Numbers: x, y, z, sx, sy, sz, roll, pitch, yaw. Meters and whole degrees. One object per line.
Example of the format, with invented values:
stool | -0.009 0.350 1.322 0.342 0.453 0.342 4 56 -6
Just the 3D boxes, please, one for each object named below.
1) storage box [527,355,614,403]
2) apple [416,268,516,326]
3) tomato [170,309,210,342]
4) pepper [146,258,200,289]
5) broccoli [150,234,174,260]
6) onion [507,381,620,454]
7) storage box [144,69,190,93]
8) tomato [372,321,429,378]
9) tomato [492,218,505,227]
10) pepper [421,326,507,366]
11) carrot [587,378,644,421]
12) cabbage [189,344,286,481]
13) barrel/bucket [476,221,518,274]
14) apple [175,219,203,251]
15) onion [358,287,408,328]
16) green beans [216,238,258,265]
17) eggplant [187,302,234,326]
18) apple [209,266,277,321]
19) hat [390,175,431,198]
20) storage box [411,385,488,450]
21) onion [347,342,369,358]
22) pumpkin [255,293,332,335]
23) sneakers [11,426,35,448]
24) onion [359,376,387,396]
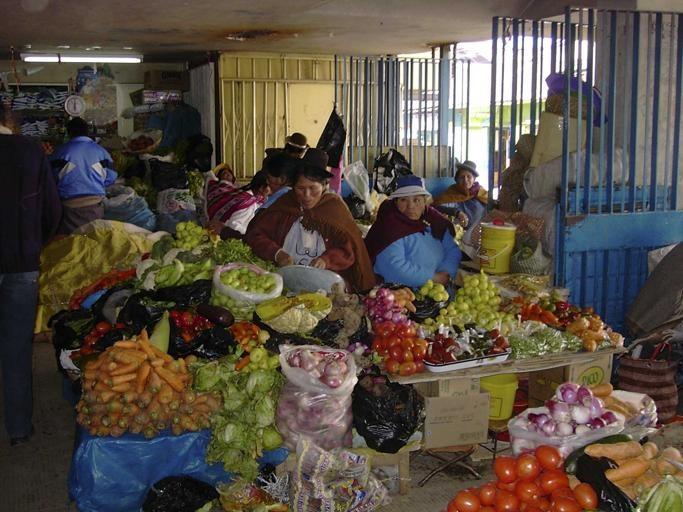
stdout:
storage box | 1.644 0.855 3.821 0.557 0.365 0.301 -8 15 -34
apple | 0.893 0.253 3.597 0.463 0.214 0.447 -2 1 29
tomato | -0.915 0.419 3.202 0.199 0.190 0.068 30 -25 2
pepper | -1.105 0.117 3.469 0.198 0.076 0.265 32 62 24
broccoli | -1.292 -0.060 3.910 0.132 0.190 0.046 34 -17 25
onion | 1.091 0.834 2.619 0.480 0.229 0.313 -14 53 1
storage box | -3.396 -3.483 10.409 0.711 0.307 0.500 -5 12 -26
tomato | 0.349 0.560 3.177 0.345 0.267 0.145 18 -28 3
tomato | 1.399 -0.309 4.746 0.111 0.051 0.105 2 7 12
pepper | 0.789 0.563 3.352 0.433 0.090 0.221 -3 28 -12
carrot | 1.504 0.808 2.922 0.194 0.051 0.191 30 10 34
cabbage | -0.574 0.942 3.072 0.675 0.608 0.325 -2 -15 23
barrel/bucket | 1.320 -0.104 4.904 0.453 0.532 0.451 1 9 0
apple | -1.107 -0.156 3.850 0.201 0.207 0.091 -7 -29 -14
onion | 0.254 0.336 3.437 0.210 0.146 0.277 -33 19 -14
green beans | -0.742 -0.057 3.671 0.221 0.117 0.198 9 10 30
eggplant | -0.794 0.350 3.214 0.241 0.094 0.090 22 19 12
apple | -0.595 0.203 3.348 0.372 0.221 0.376 9 8 -15
hat | 0.562 -0.557 4.199 0.248 0.113 0.211 -3 4 -16
storage box | 0.723 1.054 3.537 0.474 0.275 0.457 -1 8 -7
onion | 0.099 0.570 3.246 0.119 0.060 0.064 18 48 16
pumpkin | -0.291 0.351 3.283 0.362 0.117 0.257 -14 30 -27
sneakers | -2.389 1.379 4.034 0.069 0.120 0.185 9 18 25
onion | 0.193 0.791 3.227 0.128 0.117 0.036 12 -32 2
